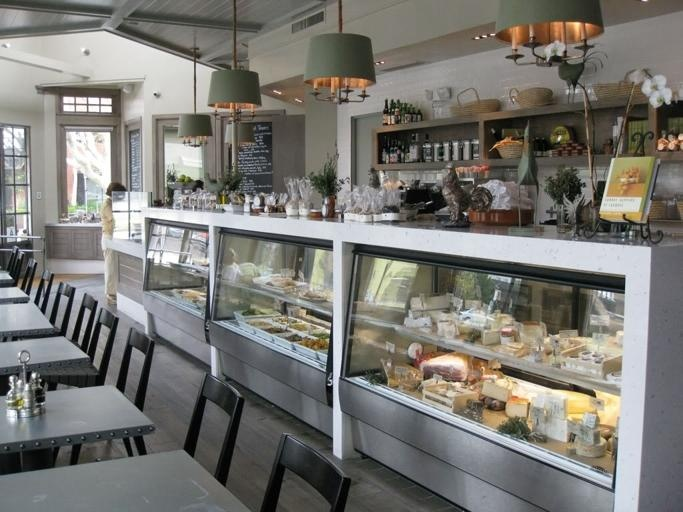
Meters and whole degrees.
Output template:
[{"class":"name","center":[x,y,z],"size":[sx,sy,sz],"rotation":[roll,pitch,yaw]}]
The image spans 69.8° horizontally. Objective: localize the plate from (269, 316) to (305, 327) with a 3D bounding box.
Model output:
[{"class":"plate","center":[-0.463,0.566,4.229],"size":[0.125,0.030,0.213],"rotation":[-5,6,-40]}]

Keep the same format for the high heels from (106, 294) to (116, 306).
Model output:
[{"class":"high heels","center":[-4.091,0.780,8.684],"size":[0.181,0.155,0.178],"rotation":[-2,8,-32]}]

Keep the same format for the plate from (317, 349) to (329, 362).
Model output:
[{"class":"plate","center":[-0.142,0.745,3.671],"size":[0.074,0.035,0.091],"rotation":[-2,7,-24]}]

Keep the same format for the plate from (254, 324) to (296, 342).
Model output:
[{"class":"plate","center":[-0.559,0.649,4.198],"size":[0.174,0.049,0.293],"rotation":[-2,5,-29]}]

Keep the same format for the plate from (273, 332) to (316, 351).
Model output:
[{"class":"plate","center":[-0.324,0.687,3.927],"size":[0.144,0.043,0.255],"rotation":[-2,3,-43]}]

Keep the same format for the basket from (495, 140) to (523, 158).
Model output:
[{"class":"basket","center":[1.819,-1.148,5.331],"size":[0.071,0.191,0.311],"rotation":[-8,11,-42]}]

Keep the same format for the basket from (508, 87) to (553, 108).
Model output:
[{"class":"basket","center":[2.017,-1.687,5.243],"size":[0.319,0.155,0.355],"rotation":[-3,4,-23]}]

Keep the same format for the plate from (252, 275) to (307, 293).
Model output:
[{"class":"plate","center":[-0.542,0.245,4.265],"size":[0.206,0.064,0.326],"rotation":[-3,8,-30]}]

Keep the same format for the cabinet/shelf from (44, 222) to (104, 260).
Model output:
[{"class":"cabinet/shelf","center":[-6.562,-0.367,12.136],"size":[1.626,0.973,0.824],"rotation":[0,3,-12]}]

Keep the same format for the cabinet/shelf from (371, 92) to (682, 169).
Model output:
[{"class":"cabinet/shelf","center":[1.824,-1.288,5.494],"size":[0.577,0.627,3.499],"rotation":[-8,11,-41]}]

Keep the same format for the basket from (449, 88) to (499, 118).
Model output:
[{"class":"basket","center":[1.566,-1.816,5.800],"size":[0.375,0.247,0.541],"rotation":[-5,5,-42]}]

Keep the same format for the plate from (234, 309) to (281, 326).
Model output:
[{"class":"plate","center":[-0.782,0.558,4.496],"size":[0.221,0.052,0.218],"rotation":[4,5,39]}]
